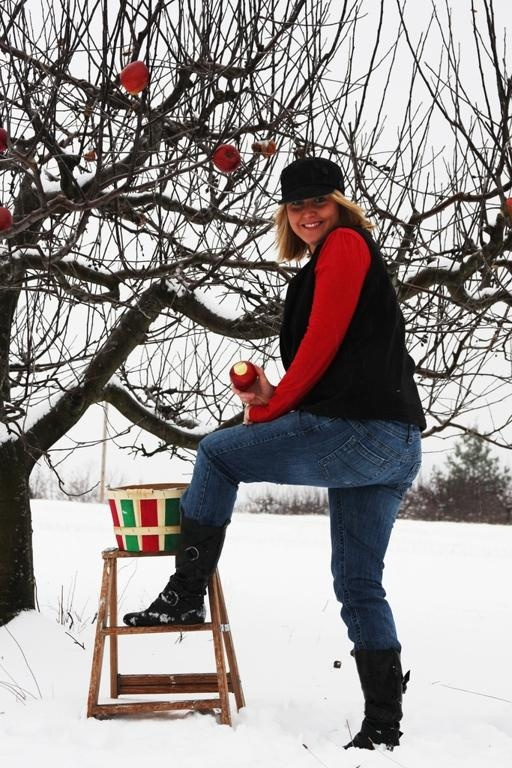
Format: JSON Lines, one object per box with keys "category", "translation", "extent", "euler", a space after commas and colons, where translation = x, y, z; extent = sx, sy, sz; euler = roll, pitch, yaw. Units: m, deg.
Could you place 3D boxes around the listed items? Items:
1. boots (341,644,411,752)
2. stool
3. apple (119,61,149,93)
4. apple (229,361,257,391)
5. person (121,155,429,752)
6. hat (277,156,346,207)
{"category": "boots", "translation": [0.434, 1.143, 2.773], "extent": [0.197, 0.359, 0.240], "euler": [5, 0, 8]}
{"category": "stool", "translation": [-0.418, 1.075, 3.294], "extent": [0.654, 0.654, 0.518], "euler": [-14, -12, 1]}
{"category": "apple", "translation": [-0.401, -0.984, 2.501], "extent": [0.097, 0.098, 0.066], "euler": [0, -1, -7]}
{"category": "apple", "translation": [-0.043, -0.027, 2.776], "extent": [0.090, 0.085, 0.093], "euler": [-5, -38, 36]}
{"category": "person", "translation": [0.163, 0.358, 2.851], "extent": [0.883, 2.047, 0.438], "euler": [5, 0, 8]}
{"category": "hat", "translation": [0.194, -0.742, 2.841], "extent": [0.158, 0.097, 0.210], "euler": [-5, -2, 35]}
